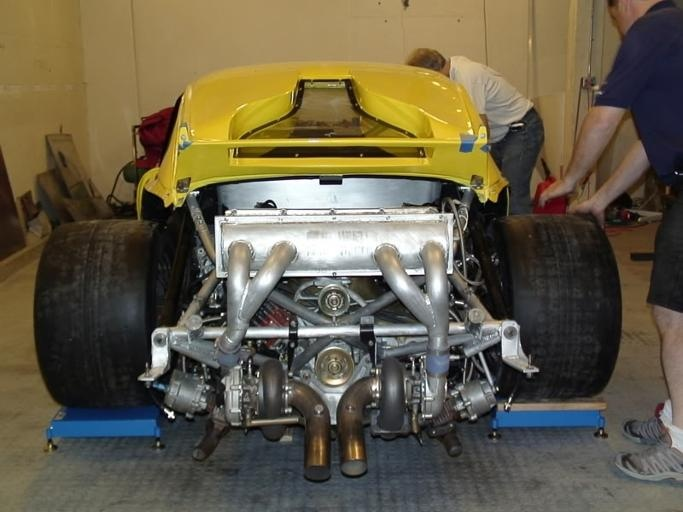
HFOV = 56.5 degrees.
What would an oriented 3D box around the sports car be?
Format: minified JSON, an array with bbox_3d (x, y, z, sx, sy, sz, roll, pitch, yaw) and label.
[{"bbox_3d":[-0.123,-0.425,4.616,3.031,1.841,4.045,-1,19,-1],"label":"sports car"}]
